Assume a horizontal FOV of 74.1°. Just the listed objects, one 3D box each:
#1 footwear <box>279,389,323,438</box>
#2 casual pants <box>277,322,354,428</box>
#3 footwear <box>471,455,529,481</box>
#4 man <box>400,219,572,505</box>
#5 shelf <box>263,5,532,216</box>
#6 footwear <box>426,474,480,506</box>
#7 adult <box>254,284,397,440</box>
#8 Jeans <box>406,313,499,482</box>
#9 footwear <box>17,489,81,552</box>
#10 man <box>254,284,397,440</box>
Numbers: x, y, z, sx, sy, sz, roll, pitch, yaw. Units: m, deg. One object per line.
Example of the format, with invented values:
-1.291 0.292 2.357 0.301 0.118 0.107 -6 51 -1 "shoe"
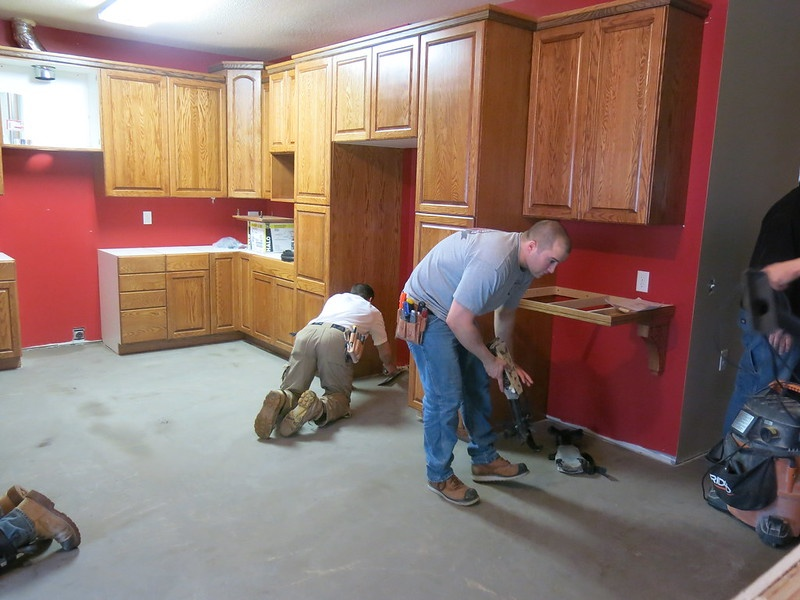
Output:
-0.679 0.768 3.640 0.182 0.423 0.161 26 18 -52 "footwear"
-0.571 0.493 3.906 0.408 0.443 0.785 6 32 2 "casual pants"
0.575 1.024 3.148 0.339 0.181 0.133 -4 3 0 "footwear"
0.465 0.350 2.954 0.946 1.506 0.634 2 7 25 "man"
0.014 -1.433 4.007 0.359 1.102 1.850 -2 7 -34 "shelf"
0.300 1.068 3.003 0.286 0.127 0.121 10 14 35 "footwear"
-0.555 0.486 4.113 0.675 0.660 1.740 8 23 12 "adult"
0.324 0.550 3.088 0.474 1.061 0.317 -15 8 -41 "Jeans"
-1.623 1.084 2.536 0.127 0.371 0.163 28 31 -3 "footwear"
-0.546 0.495 4.110 0.637 0.663 1.736 8 23 11 "man"
